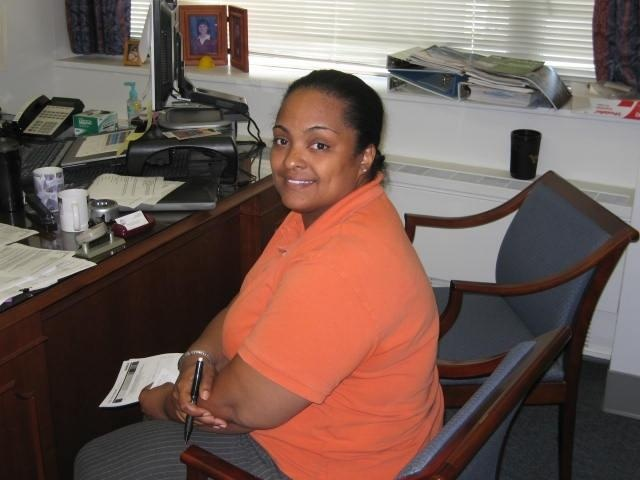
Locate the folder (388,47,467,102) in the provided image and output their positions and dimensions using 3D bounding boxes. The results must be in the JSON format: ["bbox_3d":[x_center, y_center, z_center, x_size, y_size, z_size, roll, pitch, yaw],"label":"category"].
[{"bbox_3d":[0.555,-0.876,2.739,0.360,0.287,0.513,-14,30,-36],"label":"folder"}]

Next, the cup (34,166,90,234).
[{"bbox_3d":[-0.800,-0.150,1.669,0.145,0.173,0.269,-13,35,-31],"label":"cup"}]

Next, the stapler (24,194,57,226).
[{"bbox_3d":[-0.898,-0.121,1.682,0.031,0.055,0.113,3,-5,19],"label":"stapler"}]

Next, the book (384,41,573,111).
[{"bbox_3d":[0.945,-1.021,2.993,1.266,0.337,0.715,11,23,17],"label":"book"}]

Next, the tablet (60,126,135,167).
[{"bbox_3d":[-0.894,-0.377,2.092,0.250,0.052,0.206,-8,35,-3],"label":"tablet"}]
